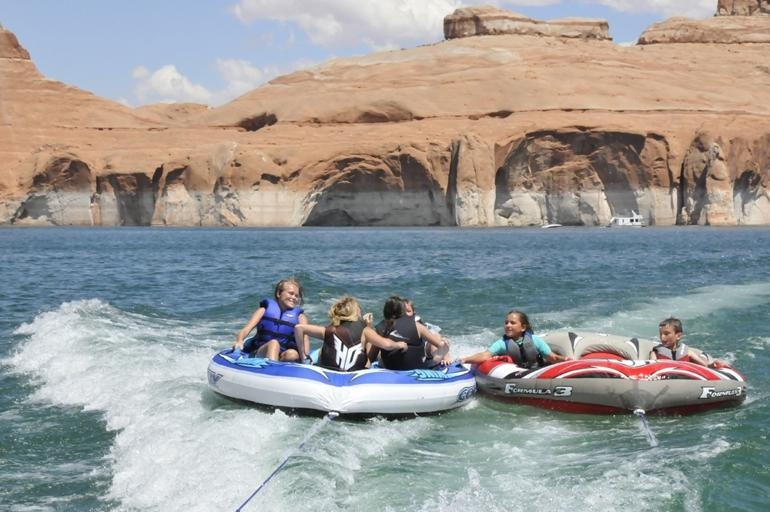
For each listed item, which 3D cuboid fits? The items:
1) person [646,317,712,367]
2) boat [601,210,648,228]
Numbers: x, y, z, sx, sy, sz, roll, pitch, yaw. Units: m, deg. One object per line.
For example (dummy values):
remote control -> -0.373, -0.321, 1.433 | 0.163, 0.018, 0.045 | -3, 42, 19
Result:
person -> 7.046, 2.027, 19.094 | 1.324, 0.628, 1.552 | -2, -7, 24
boat -> 24.367, -3.782, 83.789 | 5.609, 1.436, 1.385 | -1, 5, 2
